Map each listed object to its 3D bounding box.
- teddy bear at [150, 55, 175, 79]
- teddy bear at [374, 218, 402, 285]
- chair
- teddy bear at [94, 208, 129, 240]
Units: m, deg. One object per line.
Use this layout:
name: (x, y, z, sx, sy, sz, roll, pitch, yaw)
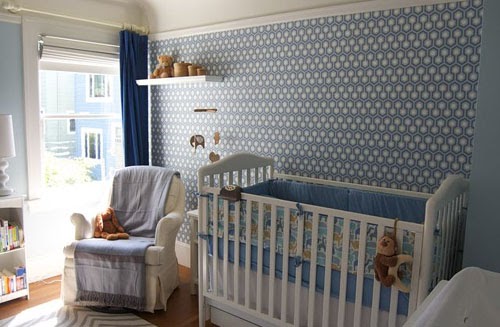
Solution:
teddy bear: (-1.002, -1.125, 4.643, 0.224, 0.304, 0.210, 4, 12, 6)
teddy bear: (0.955, 0.625, 2.761, 0.147, 0.476, 0.094, 2, 8, 13)
chair: (-1.283, 0.742, 4.298, 1.079, 1.335, 1.290, 2, 2, 15)
teddy bear: (-1.435, 0.629, 4.138, 0.348, 0.343, 0.272, 2, 3, -16)
